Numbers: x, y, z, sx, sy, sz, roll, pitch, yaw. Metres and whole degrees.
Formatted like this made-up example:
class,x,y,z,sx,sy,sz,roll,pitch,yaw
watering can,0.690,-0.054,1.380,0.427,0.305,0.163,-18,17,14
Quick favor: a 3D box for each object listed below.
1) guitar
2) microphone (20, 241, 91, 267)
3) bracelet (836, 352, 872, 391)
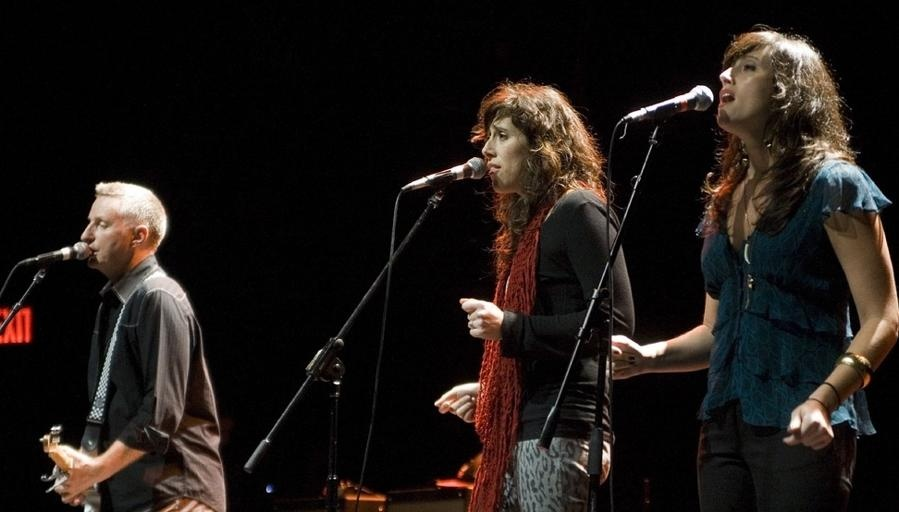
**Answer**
class,x,y,z,sx,sy,sz,roll,pitch,yaw
guitar,-2.348,1.315,5.156,0.363,0.504,0.340,6,-23,-18
microphone,-3.012,-0.026,6.280,0.533,0.138,0.148,-12,0,-2
bracelet,1.947,0.518,3.936,0.121,0.161,0.162,-32,-47,-11
